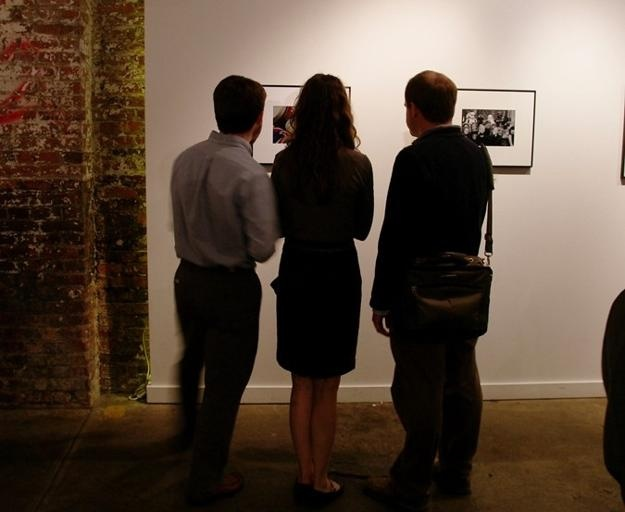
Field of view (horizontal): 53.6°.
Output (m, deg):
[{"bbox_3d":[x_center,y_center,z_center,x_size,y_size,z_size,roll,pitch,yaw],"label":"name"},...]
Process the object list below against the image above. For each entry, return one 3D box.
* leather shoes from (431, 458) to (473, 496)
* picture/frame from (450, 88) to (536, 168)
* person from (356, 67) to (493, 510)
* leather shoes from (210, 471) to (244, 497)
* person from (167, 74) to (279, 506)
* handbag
[{"bbox_3d":[0.795,1.266,3.553,0.096,0.202,0.282,0,6,0],"label":"leather shoes"},{"bbox_3d":[1.191,-0.880,4.119,0.640,0.636,0.046,1,2,-4],"label":"picture/frame"},{"bbox_3d":[0.622,0.207,3.259,0.609,2.281,0.494,3,12,12],"label":"person"},{"bbox_3d":[-0.459,1.263,3.429,0.063,0.136,0.190,6,20,30],"label":"leather shoes"},{"bbox_3d":[-0.450,0.206,3.260,0.535,2.226,0.315,-3,12,-15],"label":"person"},{"bbox_3d":[0.719,0.267,3.245,0.447,0.518,0.265,-2,-20,15],"label":"handbag"}]
